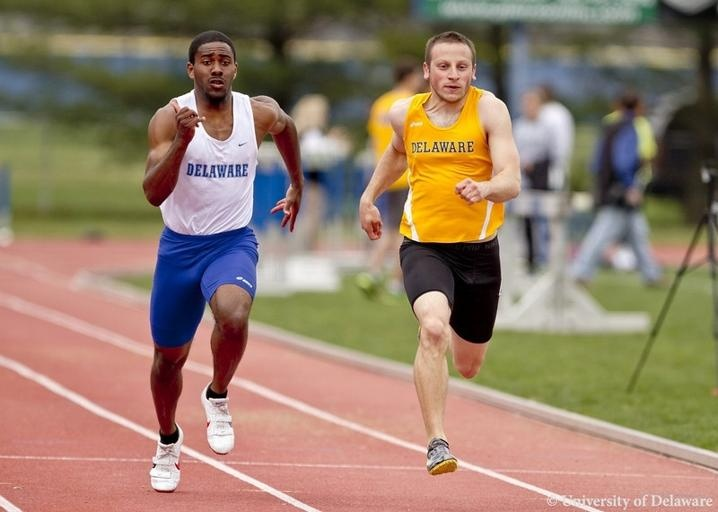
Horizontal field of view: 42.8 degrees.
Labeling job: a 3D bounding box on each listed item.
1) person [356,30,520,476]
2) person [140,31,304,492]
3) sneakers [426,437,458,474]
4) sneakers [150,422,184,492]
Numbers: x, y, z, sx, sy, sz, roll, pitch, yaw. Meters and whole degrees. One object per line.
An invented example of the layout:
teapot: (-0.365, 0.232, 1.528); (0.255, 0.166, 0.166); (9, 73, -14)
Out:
person: (0.648, -0.221, 6.050); (0.731, 2.496, 1.027); (-1, 9, -11)
person: (-0.910, 0.028, 6.017); (0.991, 2.959, 0.750); (-3, 9, -19)
sneakers: (0.496, 1.247, 5.576); (0.163, 0.234, 0.198); (0, 9, 1)
sneakers: (-1.260, 1.326, 6.025); (0.148, 0.416, 0.163); (1, -28, -2)
